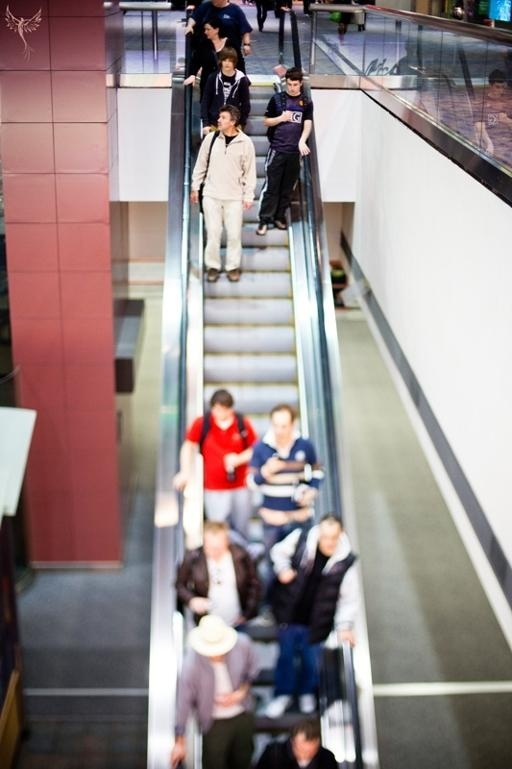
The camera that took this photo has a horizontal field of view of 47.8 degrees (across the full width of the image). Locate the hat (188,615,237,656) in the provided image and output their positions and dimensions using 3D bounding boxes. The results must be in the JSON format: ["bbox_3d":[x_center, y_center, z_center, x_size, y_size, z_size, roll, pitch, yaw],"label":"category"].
[{"bbox_3d":[-0.142,0.827,1.875,0.150,0.099,0.101,-3,25,-8],"label":"hat"}]

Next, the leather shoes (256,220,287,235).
[{"bbox_3d":[0.140,-1.688,6.183,0.364,0.172,0.153,-9,24,-12],"label":"leather shoes"}]

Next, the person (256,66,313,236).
[{"bbox_3d":[0.289,-2.238,5.704,0.487,1.570,0.900,-6,24,-16],"label":"person"}]

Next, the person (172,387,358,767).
[{"bbox_3d":[0.092,0.795,2.665,0.616,1.306,1.006,-2,24,-5],"label":"person"}]

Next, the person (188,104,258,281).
[{"bbox_3d":[-0.294,-1.634,5.146,0.527,1.570,0.933,-4,23,-12],"label":"person"}]
